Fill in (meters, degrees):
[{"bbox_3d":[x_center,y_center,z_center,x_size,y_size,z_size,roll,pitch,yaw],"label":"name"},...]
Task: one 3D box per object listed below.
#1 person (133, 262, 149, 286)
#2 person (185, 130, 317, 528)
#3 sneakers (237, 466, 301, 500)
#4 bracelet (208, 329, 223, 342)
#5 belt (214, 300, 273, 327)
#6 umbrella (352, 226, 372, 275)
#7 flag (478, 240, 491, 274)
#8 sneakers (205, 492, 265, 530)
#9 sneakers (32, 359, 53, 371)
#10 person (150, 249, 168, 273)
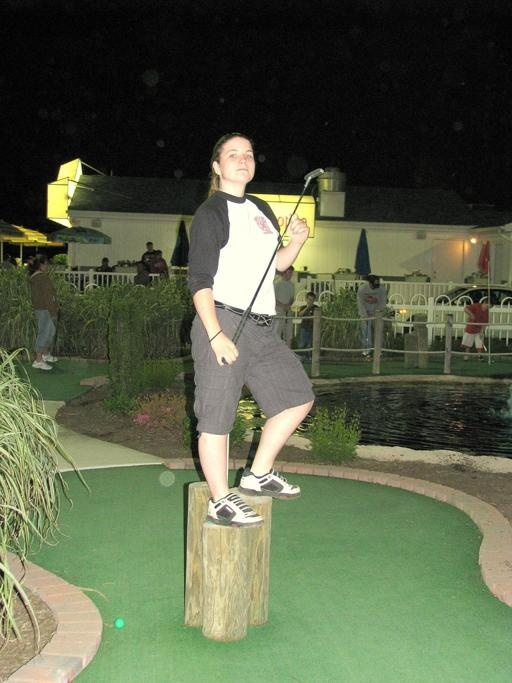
[{"bbox_3d":[-3.702,-2.166,18.654,0.445,0.654,1.110,1,1,-19],"label":"person"},{"bbox_3d":[-0.044,-0.096,2.622,0.396,1.561,0.733,2,1,38],"label":"person"},{"bbox_3d":[0.054,0.694,2.837,0.323,0.137,0.120,3,3,-14],"label":"sneakers"},{"bbox_3d":[-0.163,-0.022,2.317,0.050,0.012,0.044,-37,15,-14],"label":"bracelet"},{"bbox_3d":[-0.046,-0.119,2.519,0.162,0.036,0.117,20,4,14],"label":"belt"},{"bbox_3d":[4.708,-3.904,25.548,0.622,2.123,0.972,2,0,9],"label":"umbrella"},{"bbox_3d":[9.367,-3.419,23.643,0.359,1.445,1.112,2,1,16],"label":"flag"},{"bbox_3d":[-0.097,0.714,2.459,0.241,0.109,0.103,1,-1,29],"label":"sneakers"},{"bbox_3d":[-4.561,0.502,12.317,0.490,0.212,0.179,7,16,-2],"label":"sneakers"},{"bbox_3d":[-3.455,-2.801,20.589,0.561,0.798,1.408,2,1,-10],"label":"person"}]
